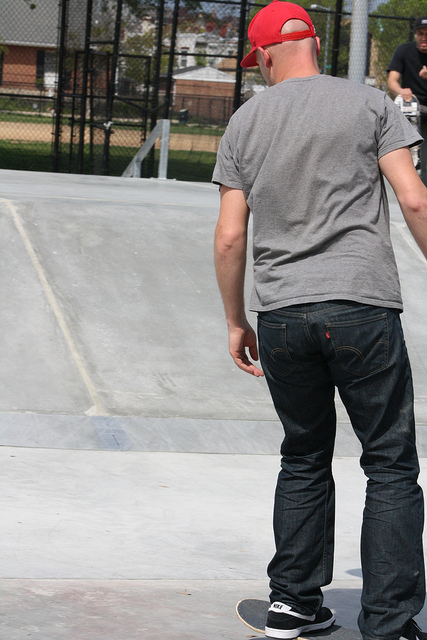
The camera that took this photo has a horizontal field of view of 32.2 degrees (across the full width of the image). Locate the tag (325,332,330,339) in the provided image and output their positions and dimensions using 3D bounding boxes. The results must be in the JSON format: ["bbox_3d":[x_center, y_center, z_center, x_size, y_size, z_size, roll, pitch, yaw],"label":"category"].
[{"bbox_3d":[0.267,0.035,1.740,0.011,0.009,0.003,-1,10,45],"label":"tag"}]

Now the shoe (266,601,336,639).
[{"bbox_3d":[0.212,0.762,1.943,0.216,0.075,0.071,-2,2,-34],"label":"shoe"}]
